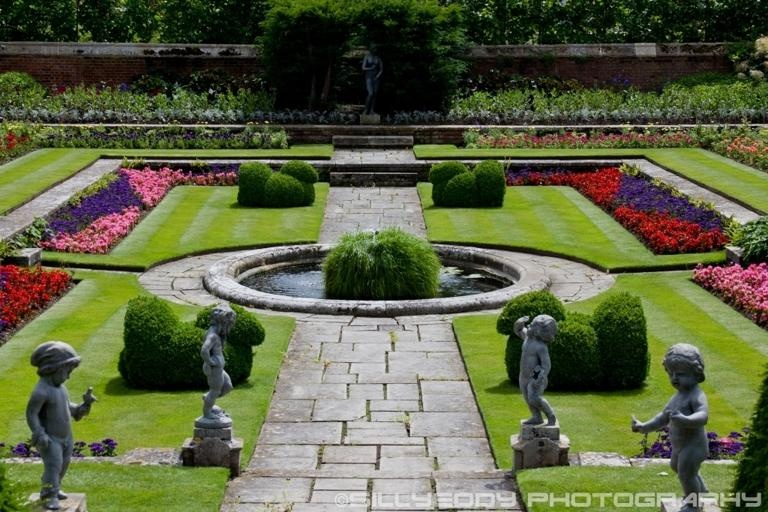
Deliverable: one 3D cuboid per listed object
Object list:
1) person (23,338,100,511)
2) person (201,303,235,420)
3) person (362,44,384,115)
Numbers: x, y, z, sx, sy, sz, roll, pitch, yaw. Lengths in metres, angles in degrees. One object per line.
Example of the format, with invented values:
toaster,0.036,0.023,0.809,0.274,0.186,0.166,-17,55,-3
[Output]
person,-4.062,2.018,12.320,0.605,1.845,0.918,1,21,-5
person,-2.287,1.456,13.851,0.451,1.573,0.725,0,22,-8
person,-0.417,-6.232,35.740,0.705,2.329,1.339,2,21,-1
